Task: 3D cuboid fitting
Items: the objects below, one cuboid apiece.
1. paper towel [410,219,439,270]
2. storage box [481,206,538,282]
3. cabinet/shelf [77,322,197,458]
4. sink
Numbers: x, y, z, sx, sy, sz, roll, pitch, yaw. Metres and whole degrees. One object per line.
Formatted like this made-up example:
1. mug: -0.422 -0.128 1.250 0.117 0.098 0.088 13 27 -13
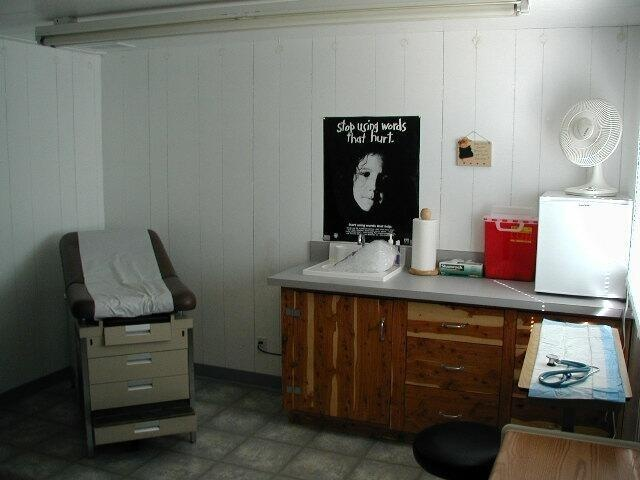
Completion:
1. paper towel: 0.764 0.034 3.920 0.176 0.373 0.129 1 13 7
2. storage box: 1.372 0.008 3.853 0.389 0.493 0.307 3 10 20
3. cabinet/shelf: -1.241 0.927 3.781 0.631 0.684 1.002 -1 9 -9
4. sink: 0.245 0.122 3.984 0.685 0.229 0.554 4 14 18
